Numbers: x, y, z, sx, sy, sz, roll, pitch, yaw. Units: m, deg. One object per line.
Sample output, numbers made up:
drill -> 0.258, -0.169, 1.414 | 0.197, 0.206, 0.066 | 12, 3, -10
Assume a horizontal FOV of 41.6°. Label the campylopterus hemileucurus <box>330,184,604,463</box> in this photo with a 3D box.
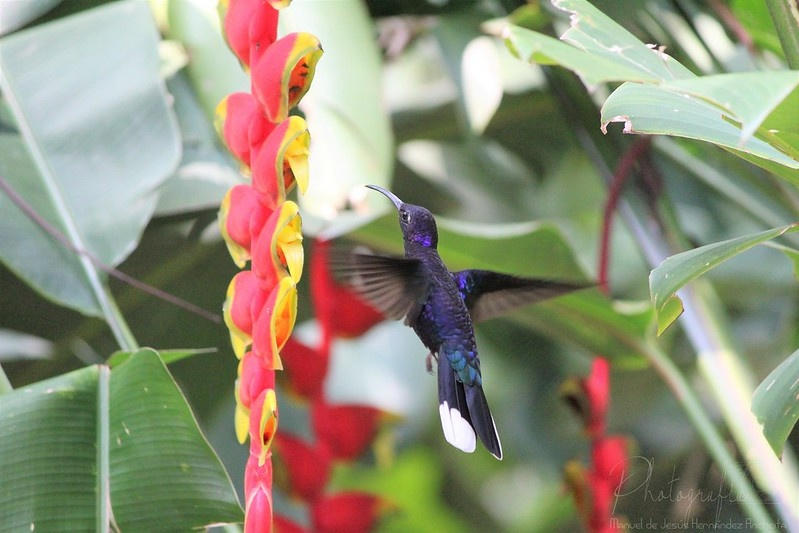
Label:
campylopterus hemileucurus -> 0.060, 0.083, 1.711 | 0.536, 0.313, 0.409 | 5, 13, -37
